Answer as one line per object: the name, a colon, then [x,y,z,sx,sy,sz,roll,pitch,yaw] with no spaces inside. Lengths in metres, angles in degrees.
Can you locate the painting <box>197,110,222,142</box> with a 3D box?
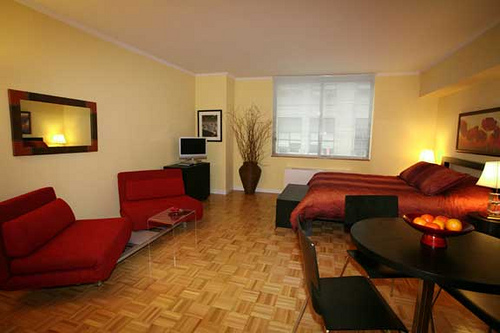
painting: [-0.942,-0.975,7.772,0.848,0.982,0.040,2,4,13]

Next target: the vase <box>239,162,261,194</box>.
vase: [-0.008,0.229,7.983,0.629,0.741,0.589,3,12,18]

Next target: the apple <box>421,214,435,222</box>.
apple: [1.892,0.542,3.473,0.094,0.088,0.094,-21,-38,21]

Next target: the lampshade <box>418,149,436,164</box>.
lampshade: [3.694,-0.210,6.888,0.345,0.356,0.315,0,1,10]

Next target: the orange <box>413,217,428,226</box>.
orange: [1.778,0.566,3.416,0.090,0.083,0.085,-8,31,-15]

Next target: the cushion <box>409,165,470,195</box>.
cushion: [2.968,0.203,5.290,0.598,0.378,0.702,-2,12,-17]

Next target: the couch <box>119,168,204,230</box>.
couch: [-1.618,0.496,5.734,1.216,0.746,1.213,-4,12,-23]

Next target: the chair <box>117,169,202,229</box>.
chair: [-1.627,0.448,5.649,1.318,0.861,0.975,-3,7,-32]

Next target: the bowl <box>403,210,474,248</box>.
bowl: [1.976,0.678,3.479,0.620,0.295,0.588,2,9,0]

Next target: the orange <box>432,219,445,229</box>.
orange: [1.961,0.583,3.394,0.093,0.087,0.091,5,35,19]

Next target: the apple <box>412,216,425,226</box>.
apple: [1.771,0.562,3.422,0.088,0.072,0.075,17,13,34]

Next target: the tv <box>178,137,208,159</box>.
tv: [-1.237,-0.388,7.227,0.727,0.494,0.210,2,3,29]

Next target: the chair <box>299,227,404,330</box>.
chair: [1.119,1.049,3.771,1.028,1.536,0.847,-6,19,2]

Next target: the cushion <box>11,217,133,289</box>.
cushion: [-2.277,1.097,4.318,1.215,0.569,0.854,0,12,-9]

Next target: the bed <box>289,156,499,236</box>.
bed: [2.430,0.377,5.295,2.030,0.752,1.835,3,12,17]

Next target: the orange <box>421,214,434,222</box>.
orange: [1.887,0.537,3.478,0.081,0.080,0.080,2,-36,51]
